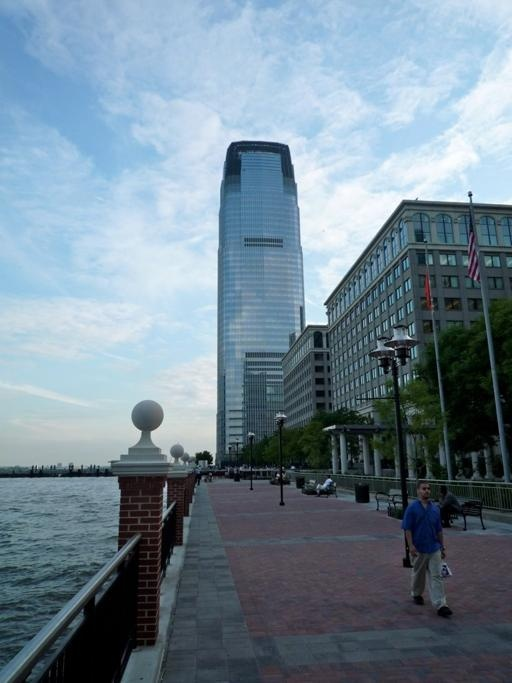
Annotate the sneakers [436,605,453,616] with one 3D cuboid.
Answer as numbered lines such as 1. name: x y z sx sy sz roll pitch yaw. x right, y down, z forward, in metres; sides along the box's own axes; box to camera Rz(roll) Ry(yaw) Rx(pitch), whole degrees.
1. sneakers: 2.185 3.149 6.278 0.177 0.129 0.167 -12 -10 11

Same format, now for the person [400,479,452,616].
1. person: 2.108 2.575 6.748 0.563 1.523 0.875 -12 -10 7

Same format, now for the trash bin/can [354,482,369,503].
1. trash bin/can: 5.004 7.255 25.659 0.895 0.885 0.865 -1 -4 0

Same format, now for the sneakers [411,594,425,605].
1. sneakers: 2.081 3.322 6.914 0.064 0.076 0.184 2 -9 9

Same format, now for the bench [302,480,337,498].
1. bench: 3.865 8.760 32.483 1.623 0.880 2.313 -3 -26 8

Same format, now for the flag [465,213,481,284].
1. flag: 8.717 -3.769 21.676 0.512 2.715 0.256 2 16 44
